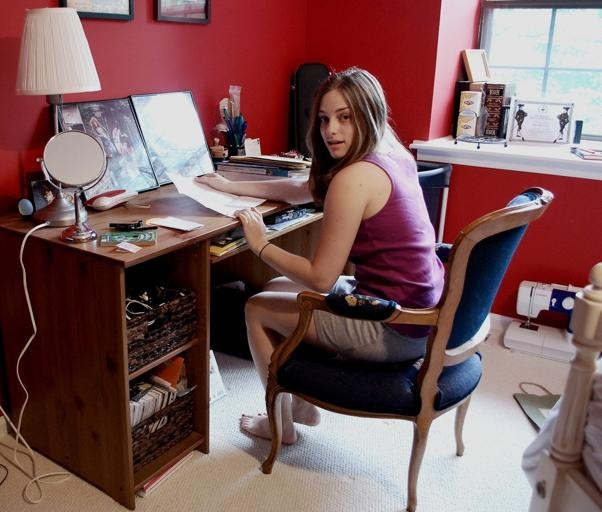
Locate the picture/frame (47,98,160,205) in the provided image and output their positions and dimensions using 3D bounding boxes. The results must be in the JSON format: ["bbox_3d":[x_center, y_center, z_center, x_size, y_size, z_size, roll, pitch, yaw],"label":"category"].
[{"bbox_3d":[-0.724,-0.416,1.838,0.021,0.350,0.375,-9,9,27],"label":"picture/frame"}]

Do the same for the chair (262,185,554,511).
[{"bbox_3d":[0.339,0.110,1.955,1.002,1.267,0.860,12,18,29],"label":"chair"}]

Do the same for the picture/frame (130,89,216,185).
[{"bbox_3d":[-0.545,-0.521,2.112,0.414,0.381,0.032,4,27,38],"label":"picture/frame"}]

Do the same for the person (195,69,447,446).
[{"bbox_3d":[0.034,0.051,1.700,0.913,1.245,0.501,9,8,26],"label":"person"}]

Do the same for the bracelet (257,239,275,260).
[{"bbox_3d":[-0.119,-0.018,1.550,0.014,0.059,0.059,17,5,-2],"label":"bracelet"}]

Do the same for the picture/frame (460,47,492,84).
[{"bbox_3d":[1.105,-1.159,2.946,0.142,0.100,0.018,-20,10,33],"label":"picture/frame"}]

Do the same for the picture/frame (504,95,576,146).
[{"bbox_3d":[1.374,-0.768,2.753,0.337,0.237,0.034,5,13,21],"label":"picture/frame"}]

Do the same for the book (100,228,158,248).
[{"bbox_3d":[-0.500,-0.058,1.409,0.155,0.020,0.129,-3,22,-17],"label":"book"}]
